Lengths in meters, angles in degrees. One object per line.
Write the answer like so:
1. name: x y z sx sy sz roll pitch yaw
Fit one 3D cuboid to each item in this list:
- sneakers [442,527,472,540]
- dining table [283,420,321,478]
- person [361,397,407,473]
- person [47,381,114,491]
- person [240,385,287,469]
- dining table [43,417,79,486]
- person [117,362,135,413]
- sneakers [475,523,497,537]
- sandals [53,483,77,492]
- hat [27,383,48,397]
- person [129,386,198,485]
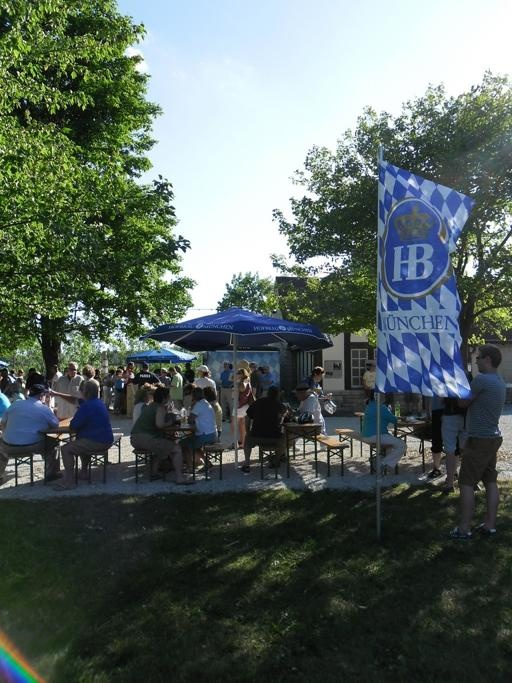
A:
1. sneakers: 1.923 1.816 5.615 0.262 0.113 0.096 -1 -4 29
2. dining table: 0.658 1.657 9.158 0.773 0.822 0.888 -1 0 5
3. person: 1.784 1.326 8.309 0.609 1.273 2.759 0 0 12
4. person: -2.316 1.217 8.084 0.694 1.411 0.702 0 0 -19
5. person: 0.127 1.237 8.642 0.612 1.196 0.765 0 0 -2
6. dining table: -2.703 1.522 8.101 0.573 0.484 1.016 3 -4 -14
7. person: -4.356 1.558 19.589 0.607 1.494 1.666 0 -1 -1
8. sneakers: 2.223 1.822 5.753 0.092 0.095 0.228 3 -1 -28
9. sandals: -2.521 1.904 7.731 0.217 0.081 0.107 7 -7 -18
10. hat: -3.013 0.675 8.182 0.207 0.138 0.271 3 19 3
11. person: -1.348 1.310 8.391 0.819 1.344 0.876 0 0 -7
